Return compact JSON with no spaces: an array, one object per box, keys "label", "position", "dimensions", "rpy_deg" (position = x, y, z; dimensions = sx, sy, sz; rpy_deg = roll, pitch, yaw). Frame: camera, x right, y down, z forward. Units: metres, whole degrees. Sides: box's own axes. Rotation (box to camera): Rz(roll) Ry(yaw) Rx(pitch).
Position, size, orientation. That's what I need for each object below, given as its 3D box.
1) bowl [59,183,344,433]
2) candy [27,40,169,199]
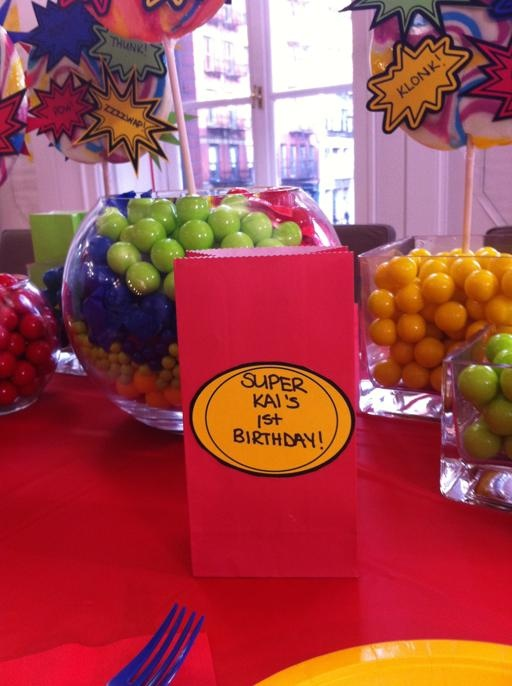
[{"label":"bowl","position":[-0.043,-0.036,0.659],"dimensions":[0.284,0.215,0.273],"rpy_deg":[0,-2,0]},{"label":"candy","position":[-0.189,-0.345,0.871],"dimensions":[0.196,0.239,0.127],"rpy_deg":[18,39,32]}]
